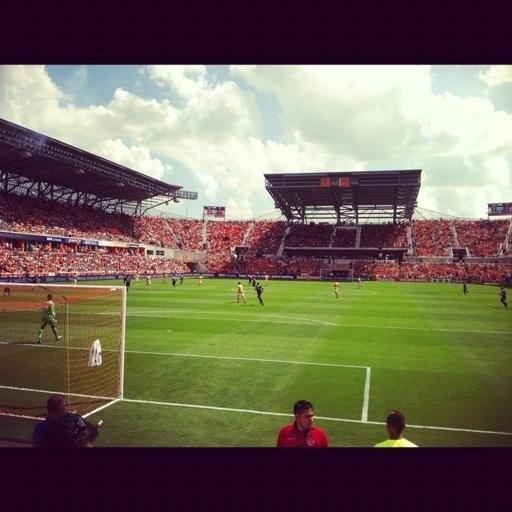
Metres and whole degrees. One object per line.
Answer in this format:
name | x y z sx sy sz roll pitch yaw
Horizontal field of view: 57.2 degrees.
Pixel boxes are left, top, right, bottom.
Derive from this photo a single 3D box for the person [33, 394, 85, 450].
person | -2.659 2.217 6.244 0.717 0.524 1.207 5 -37 -16
